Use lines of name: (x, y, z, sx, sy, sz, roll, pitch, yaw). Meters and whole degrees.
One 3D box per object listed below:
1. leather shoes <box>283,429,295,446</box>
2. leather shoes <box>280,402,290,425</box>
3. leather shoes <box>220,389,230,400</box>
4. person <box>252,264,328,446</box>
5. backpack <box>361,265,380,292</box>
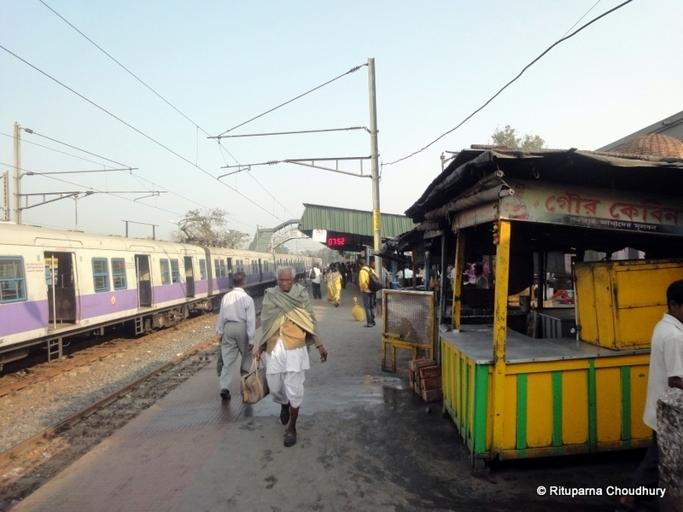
leather shoes: (-0.614, 2.154, 5.942, 0.156, 0.110, 0.413, 0, -6, -4)
leather shoes: (-0.727, 2.032, 6.451, 0.096, 0.297, 0.117, -2, -21, -2)
leather shoes: (-1.735, 2.055, 7.507, 0.144, 0.190, 0.146, -4, 8, -15)
person: (-0.626, 1.169, 6.183, 0.727, 2.057, 0.767, -6, 9, -26)
backpack: (0.777, 0.573, 12.520, 0.409, 0.709, 0.409, -1, 8, 10)
